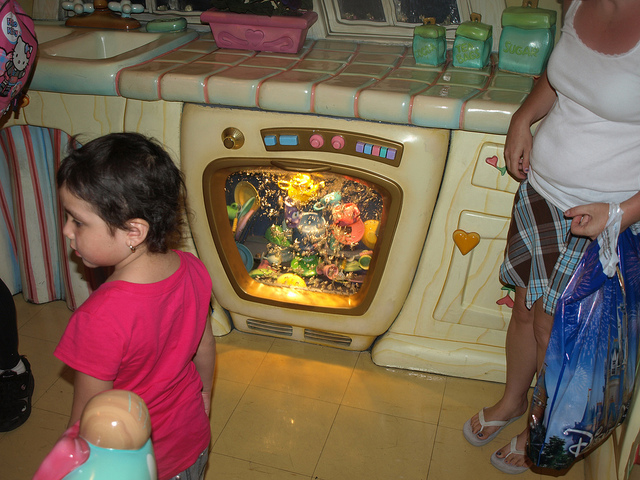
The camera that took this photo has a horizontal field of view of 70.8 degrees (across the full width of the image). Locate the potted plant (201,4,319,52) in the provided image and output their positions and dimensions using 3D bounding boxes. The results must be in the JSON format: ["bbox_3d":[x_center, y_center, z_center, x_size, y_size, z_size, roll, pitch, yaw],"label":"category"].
[{"bbox_3d":[-0.224,-0.803,1.690,0.409,0.156,0.144,6,30,7],"label":"potted plant"}]

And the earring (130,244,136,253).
[{"bbox_3d":[-0.361,0.013,0.868,0.010,0.019,0.004,-13,32,-24],"label":"earring"}]

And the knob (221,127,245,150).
[{"bbox_3d":[-0.298,-0.349,1.530,0.082,0.071,0.026,4,29,3],"label":"knob"}]

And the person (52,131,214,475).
[{"bbox_3d":[-0.369,0.200,0.956,0.289,0.782,0.280,-8,31,-16],"label":"person"}]

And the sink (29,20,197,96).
[{"bbox_3d":[-0.750,-0.671,1.658,0.304,0.118,0.299,18,44,16],"label":"sink"}]

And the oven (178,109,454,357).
[{"bbox_3d":[-0.031,-0.126,2.020,0.896,1.150,0.760,2,37,-4],"label":"oven"}]
